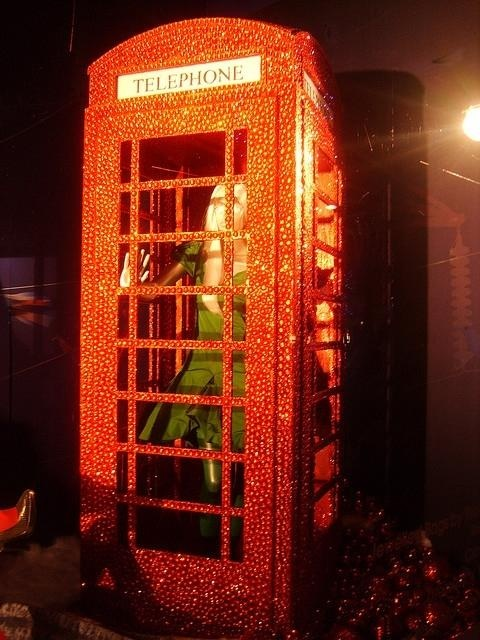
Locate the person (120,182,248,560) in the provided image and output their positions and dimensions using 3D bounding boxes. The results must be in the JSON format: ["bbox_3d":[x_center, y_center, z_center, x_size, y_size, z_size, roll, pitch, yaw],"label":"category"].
[{"bbox_3d":[-0.111,0.131,2.420,0.579,1.190,0.481,5,15,24],"label":"person"}]
